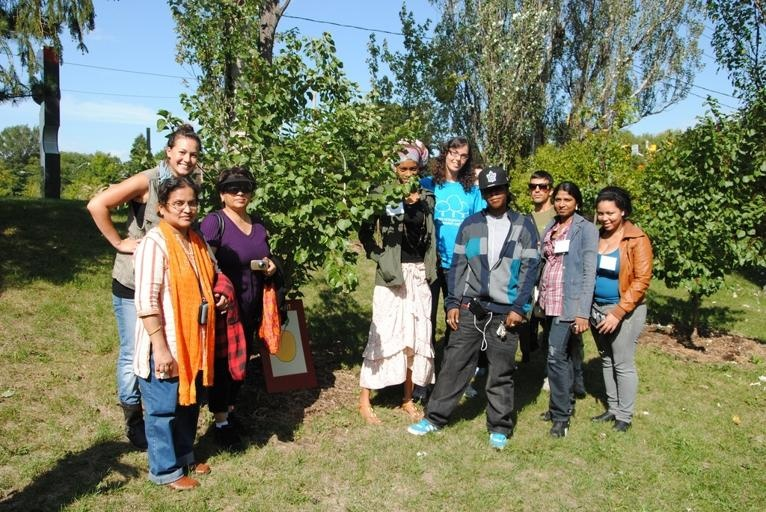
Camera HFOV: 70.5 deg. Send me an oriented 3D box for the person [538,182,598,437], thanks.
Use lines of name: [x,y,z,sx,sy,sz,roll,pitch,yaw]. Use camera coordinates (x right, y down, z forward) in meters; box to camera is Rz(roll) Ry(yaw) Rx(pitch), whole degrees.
person: [2.595,0.705,7.654,0.619,3.410,1.103,4,12,0]

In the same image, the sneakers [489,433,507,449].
sneakers: [1.553,2.460,7.246,0.247,0.163,0.192,8,13,15]

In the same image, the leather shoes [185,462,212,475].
leather shoes: [-2.234,2.570,6.569,0.209,0.066,0.125,1,8,-4]

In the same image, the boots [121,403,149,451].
boots: [-3.125,2.092,6.814,0.237,0.459,0.637,3,2,-37]

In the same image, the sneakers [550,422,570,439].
sneakers: [2.506,2.388,7.524,0.338,0.183,0.190,0,13,-20]

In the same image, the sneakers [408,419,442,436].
sneakers: [0.547,2.344,7.397,0.381,0.163,0.209,3,-6,-3]

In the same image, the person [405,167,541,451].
person: [1.397,0.640,7.320,1.176,3.629,1.074,8,13,17]

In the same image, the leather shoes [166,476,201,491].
leather shoes: [-2.340,2.664,6.416,0.382,0.165,0.134,-5,13,0]

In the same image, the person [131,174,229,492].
person: [-2.365,0.909,6.257,0.931,3.563,0.762,-4,14,-32]

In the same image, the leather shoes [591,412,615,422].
leather shoes: [3.204,2.327,7.901,0.372,0.151,0.127,1,3,3]

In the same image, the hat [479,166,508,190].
hat: [1.500,-1.047,7.281,0.404,0.312,0.233,5,12,2]
